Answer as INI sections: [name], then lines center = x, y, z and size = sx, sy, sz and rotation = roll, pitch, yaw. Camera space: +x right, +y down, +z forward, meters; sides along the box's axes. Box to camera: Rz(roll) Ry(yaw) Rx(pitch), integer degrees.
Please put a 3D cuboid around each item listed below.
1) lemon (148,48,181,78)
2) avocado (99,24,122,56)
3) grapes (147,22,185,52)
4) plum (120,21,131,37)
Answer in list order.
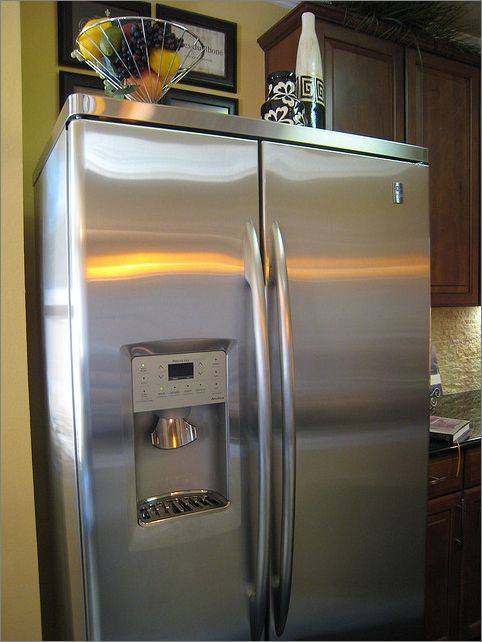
[lemon]
center = -0.157, -0.532, 1.119
size = 0.042, 0.043, 0.050
rotation = 1, -6, -7
[avocado]
center = -0.258, -0.553, 1.073
size = 0.045, 0.044, 0.037
rotation = -5, 4, -14
[grapes]
center = -0.149, -0.581, 1.129
size = 0.033, 0.051, 0.109
rotation = 15, 16, 16
[plum]
center = -0.224, -0.578, 1.072
size = 0.021, 0.033, 0.033
rotation = -5, 4, -11
